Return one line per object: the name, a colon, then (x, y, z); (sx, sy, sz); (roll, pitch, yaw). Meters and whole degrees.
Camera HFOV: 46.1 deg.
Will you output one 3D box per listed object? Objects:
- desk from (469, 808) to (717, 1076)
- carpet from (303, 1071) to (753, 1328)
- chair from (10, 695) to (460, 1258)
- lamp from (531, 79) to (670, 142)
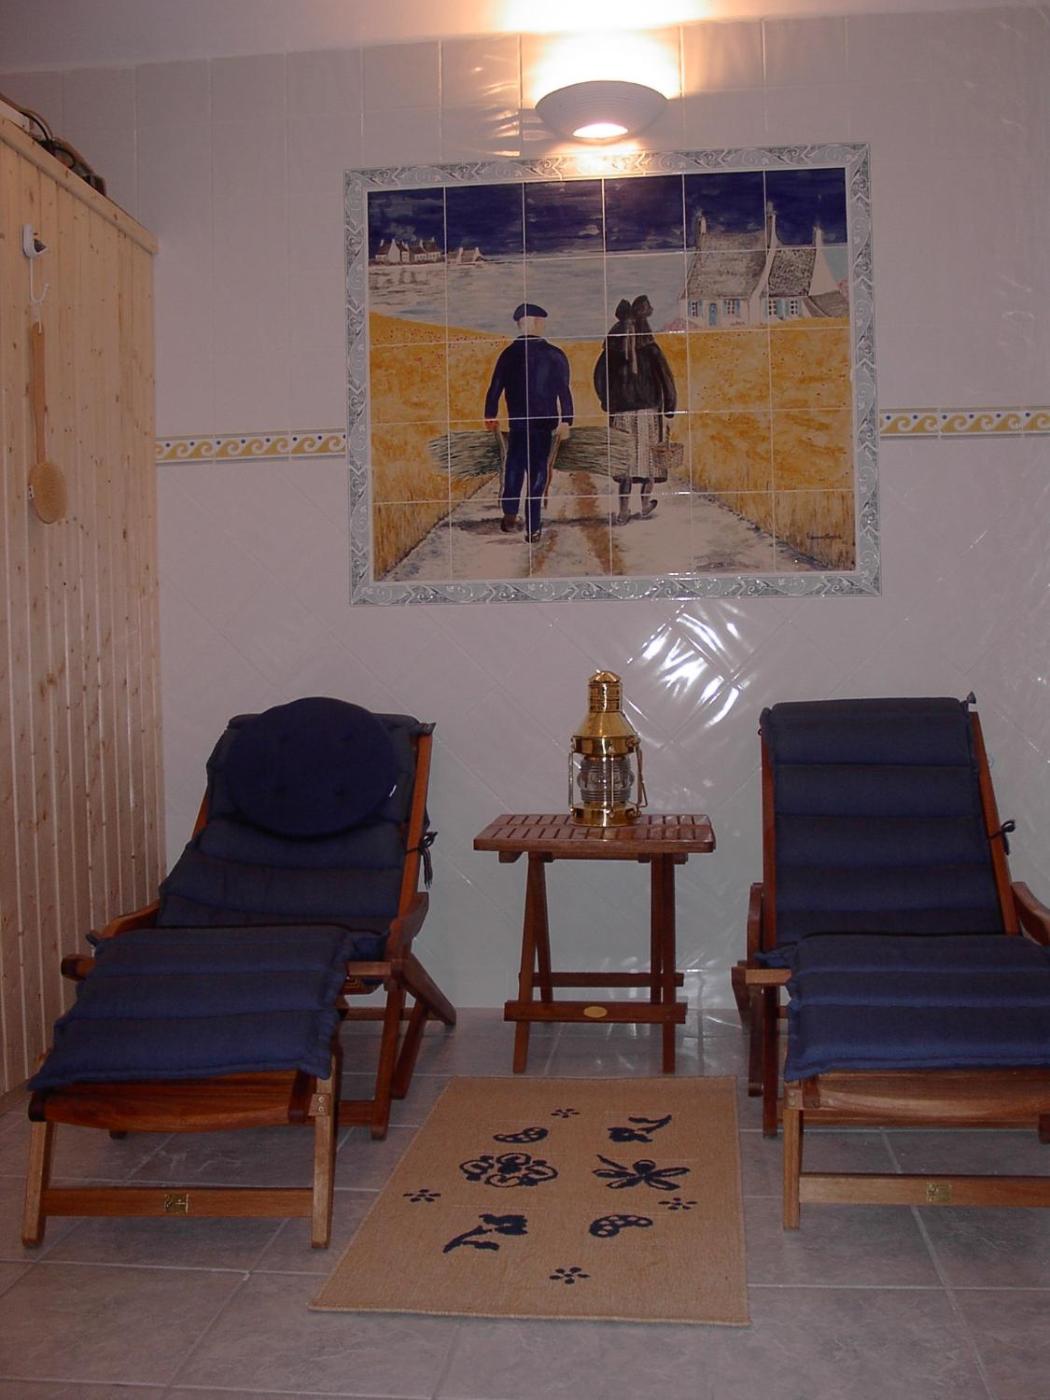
desk: (0.214, 0.579, 3.422); (0.840, 0.743, 0.616); (0, 2, 6)
carpet: (0.074, 0.974, 2.516); (0.721, 0.019, 1.112); (-1, 1, 8)
chair: (-0.636, 0.522, 2.940); (0.718, 0.877, 1.404); (0, 4, 3)
lamp: (0.213, -1.768, 3.668); (0.401, 0.126, 0.309); (-1, 1, 7)
